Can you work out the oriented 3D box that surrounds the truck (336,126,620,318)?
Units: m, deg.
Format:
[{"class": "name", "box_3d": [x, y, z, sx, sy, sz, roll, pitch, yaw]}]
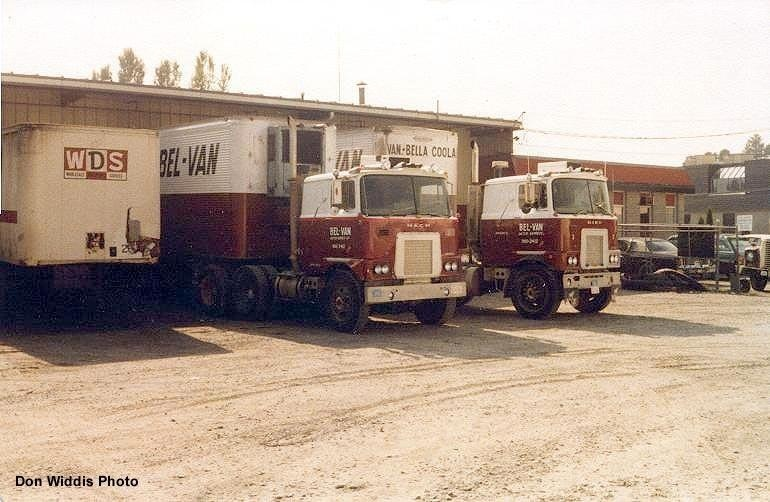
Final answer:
[{"class": "truck", "box_3d": [2.617, -0.909, 21.789, 3.396, 5.162, 9.660, -5, 3, -38]}]

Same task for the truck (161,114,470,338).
[{"class": "truck", "box_3d": [-2.867, -0.957, 18.888, 10.309, 5.240, 3.527, 3, 8, 45]}]
